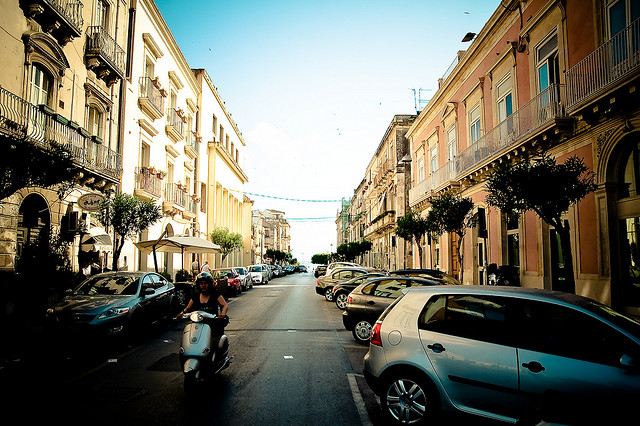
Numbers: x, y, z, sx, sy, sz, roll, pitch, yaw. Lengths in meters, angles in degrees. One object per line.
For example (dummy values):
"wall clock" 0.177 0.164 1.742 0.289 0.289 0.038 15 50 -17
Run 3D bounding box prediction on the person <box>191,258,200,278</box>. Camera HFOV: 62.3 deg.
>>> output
"person" -7.254 3.321 30.903 0.339 1.140 2.253 1 -12 -15

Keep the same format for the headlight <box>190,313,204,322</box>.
"headlight" -2.849 2.450 12.365 0.286 0.188 0.083 1 -10 -15

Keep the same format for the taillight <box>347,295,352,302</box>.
"taillight" 0.909 2.674 16.287 0.120 0.129 0.127 -1 -2 2

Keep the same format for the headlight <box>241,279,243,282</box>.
"headlight" -4.686 4.099 31.817 0.194 0.140 0.236 1 -4 16

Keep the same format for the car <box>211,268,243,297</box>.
"car" -5.124 3.888 29.882 0.902 0.933 2.097 -2 -15 2

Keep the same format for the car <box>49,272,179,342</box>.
"car" -6.145 2.750 16.142 1.950 2.064 3.577 -5 -12 20

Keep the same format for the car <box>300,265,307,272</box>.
"car" -3.850 12.810 117.147 1.598 1.728 2.939 4 4 4

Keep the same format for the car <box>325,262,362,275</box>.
"car" 1.431 3.210 32.158 1.990 0.768 1.024 -2 -4 0

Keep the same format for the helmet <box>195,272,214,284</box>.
"helmet" -2.829 1.547 12.987 0.377 0.214 0.456 1 -12 -14

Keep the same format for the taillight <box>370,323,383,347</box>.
"taillight" 1.212 2.616 11.320 0.286 0.481 0.144 -6 -11 24

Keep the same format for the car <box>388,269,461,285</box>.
"car" 4.023 2.417 20.543 2.372 0.903 1.219 -2 -2 8

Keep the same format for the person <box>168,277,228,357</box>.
"person" -2.807 2.483 13.311 1.004 1.203 1.763 -7 -15 0

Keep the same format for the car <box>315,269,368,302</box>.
"car" 0.693 3.375 25.227 2.515 1.037 1.146 -2 -3 4

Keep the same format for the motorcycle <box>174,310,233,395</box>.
"motorcycle" -2.707 3.241 12.404 0.567 1.882 1.097 -10 -14 43

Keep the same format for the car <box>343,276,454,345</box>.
"car" 2.526 3.366 16.999 2.374 2.367 5.222 13 -11 6
